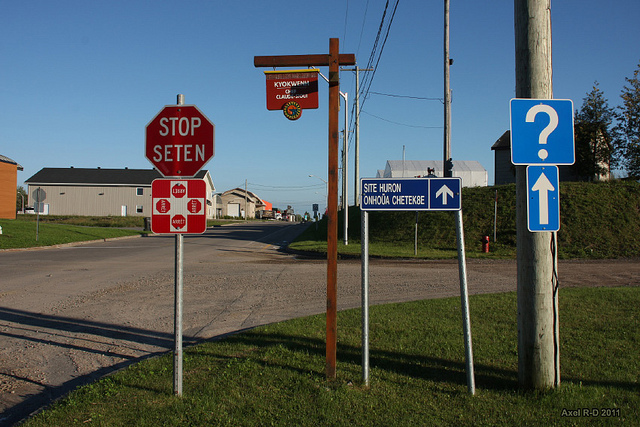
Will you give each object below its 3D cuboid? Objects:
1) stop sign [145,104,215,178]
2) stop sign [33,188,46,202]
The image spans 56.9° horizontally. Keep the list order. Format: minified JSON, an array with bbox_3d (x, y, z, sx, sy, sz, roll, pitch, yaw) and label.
[{"bbox_3d":[-2.647,-1.358,11.104,1.300,1.432,0.117,-1,-5,1],"label":"stop sign"},{"bbox_3d":[-14.822,-0.966,31.305,0.638,0.859,0.213,3,4,5],"label":"stop sign"}]
